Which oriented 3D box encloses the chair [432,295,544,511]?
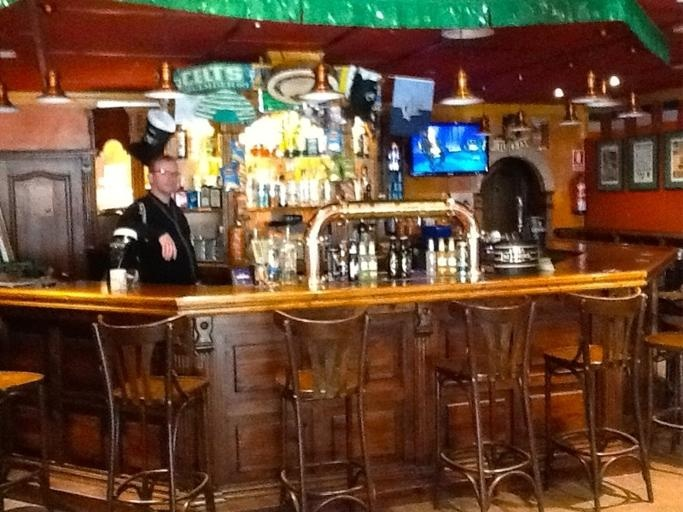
[{"bbox_3d":[1.157,1.133,5.583,0.911,1.634,0.912,-3,4,-1],"label":"chair"}]

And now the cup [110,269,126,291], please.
[{"bbox_3d":[-1.749,0.190,5.679,0.134,0.157,0.334,-4,4,-17],"label":"cup"}]

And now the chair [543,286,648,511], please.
[{"bbox_3d":[2.079,1.066,5.902,0.818,1.644,1.231,-1,4,22],"label":"chair"}]

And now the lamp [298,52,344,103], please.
[{"bbox_3d":[-0.158,-1.475,6.169,0.436,0.414,0.399,-3,3,-26],"label":"lamp"}]

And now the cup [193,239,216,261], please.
[{"bbox_3d":[-1.548,-0.063,8.338,0.267,0.285,0.260,-2,0,0],"label":"cup"}]

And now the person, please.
[{"bbox_3d":[-1.668,-0.304,6.515,0.696,1.143,0.320,-5,5,-28],"label":"person"}]

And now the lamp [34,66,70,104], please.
[{"bbox_3d":[-2.511,-1.479,6.334,0.297,0.312,0.307,2,5,-1],"label":"lamp"}]

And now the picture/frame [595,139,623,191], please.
[{"bbox_3d":[4.656,-1.548,12.568,0.081,0.827,0.501,-5,4,-24],"label":"picture/frame"}]
